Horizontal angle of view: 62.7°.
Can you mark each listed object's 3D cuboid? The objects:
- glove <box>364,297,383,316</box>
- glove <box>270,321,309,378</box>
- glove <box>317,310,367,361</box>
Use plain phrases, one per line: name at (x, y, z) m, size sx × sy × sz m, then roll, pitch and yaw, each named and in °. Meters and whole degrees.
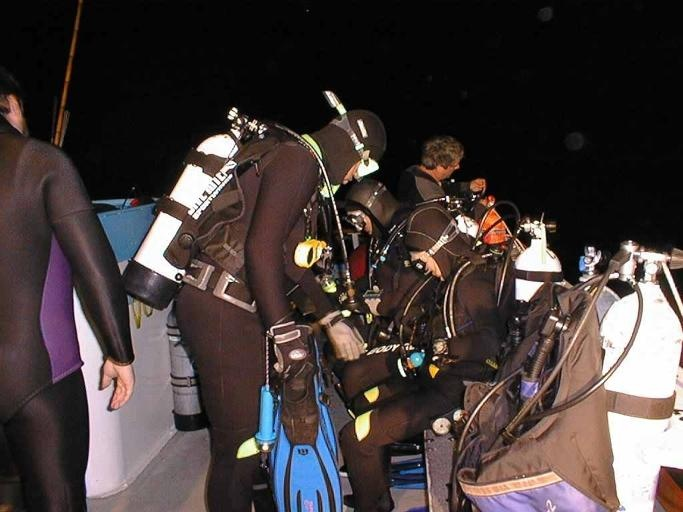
glove at (0.215, 0.333, 3.765) m, size 0.116 × 0.116 × 0.036 m, roll -4°, pitch 10°, yaw 1°
glove at (-0.232, 0.416, 2.523) m, size 0.170 × 0.249 × 0.129 m, roll 1°, pitch -4°, yaw 0°
glove at (-0.003, 0.408, 2.822) m, size 0.189 × 0.257 × 0.115 m, roll -38°, pitch -9°, yaw -19°
